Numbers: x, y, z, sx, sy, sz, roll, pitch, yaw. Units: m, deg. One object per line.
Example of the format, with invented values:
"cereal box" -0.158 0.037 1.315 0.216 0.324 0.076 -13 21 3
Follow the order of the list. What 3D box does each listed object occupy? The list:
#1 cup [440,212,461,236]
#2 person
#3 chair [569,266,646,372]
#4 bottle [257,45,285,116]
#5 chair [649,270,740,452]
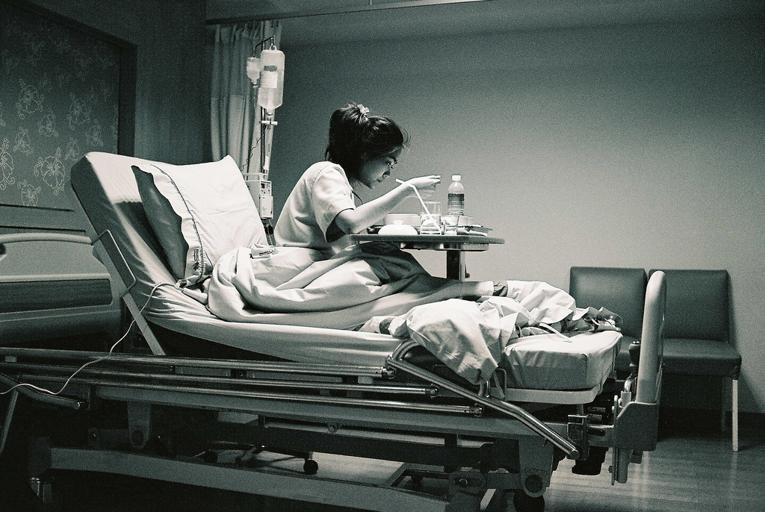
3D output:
"cup" 0.321 -0.156 3.431 0.129 0.113 0.108 0 -3 4
"person" -0.105 -0.388 3.742 0.852 0.810 0.823 8 12 -5
"chair" 1.669 0.379 5.089 0.584 0.766 0.787 2 4 17
"bottle" -0.727 -1.161 4.600 0.157 0.429 0.329 0 11 -10
"chair" 2.129 0.660 4.821 0.677 0.983 0.661 2 11 4
